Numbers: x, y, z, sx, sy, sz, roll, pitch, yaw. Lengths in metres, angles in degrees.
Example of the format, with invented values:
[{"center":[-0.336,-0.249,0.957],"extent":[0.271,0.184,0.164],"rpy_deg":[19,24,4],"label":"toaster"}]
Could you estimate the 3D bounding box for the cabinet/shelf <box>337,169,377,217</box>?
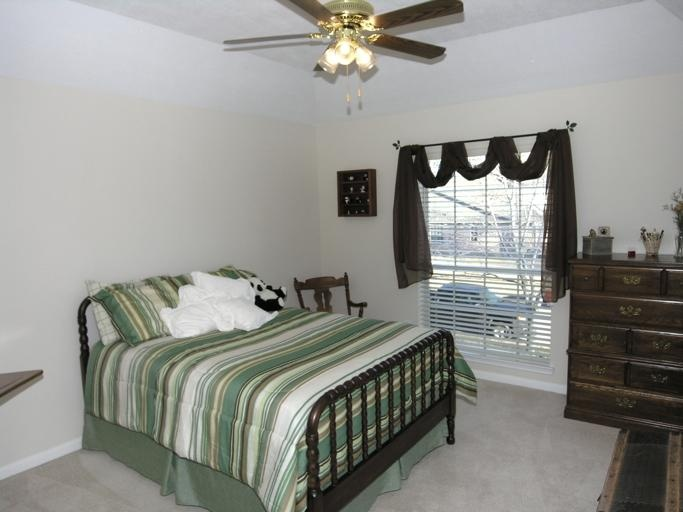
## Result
[{"center":[0.199,-0.768,6.072],"extent":[0.567,0.695,0.195],"rpy_deg":[0,2,28],"label":"cabinet/shelf"}]
